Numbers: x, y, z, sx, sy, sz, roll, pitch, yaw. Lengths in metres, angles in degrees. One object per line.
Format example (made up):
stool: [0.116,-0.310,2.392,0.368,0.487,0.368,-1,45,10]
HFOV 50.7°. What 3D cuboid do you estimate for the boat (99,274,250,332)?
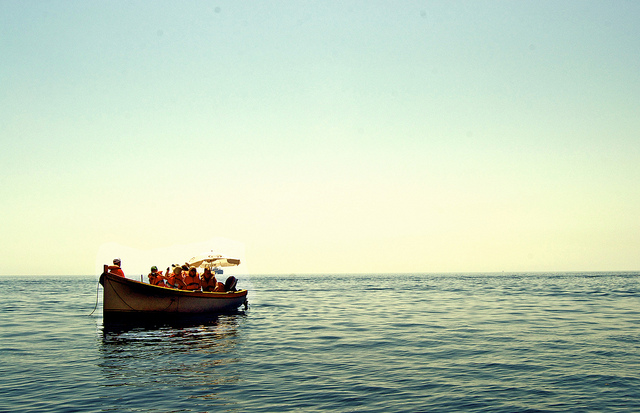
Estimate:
boat: [-8.209,5.264,40.188,9.598,3.273,3.366,6,-12,-42]
